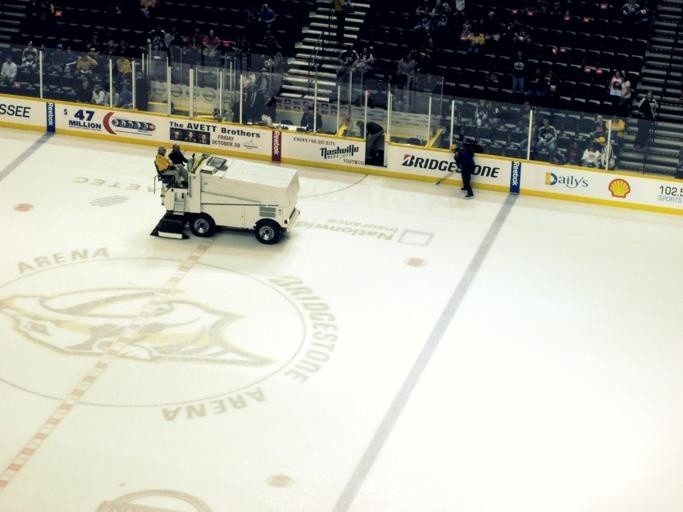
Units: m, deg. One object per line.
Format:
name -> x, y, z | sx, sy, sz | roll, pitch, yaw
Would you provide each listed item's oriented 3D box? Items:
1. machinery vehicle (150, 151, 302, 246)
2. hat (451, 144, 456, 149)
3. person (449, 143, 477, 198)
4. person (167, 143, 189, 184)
machinery vehicle -> -3.573, -1.977, 25.237 | 4.652, 2.349, 2.563 | 7, 24, 6
hat -> 4.146, -4.057, 28.335 | 0.044, 0.170, 0.180 | 19, -2, -25
person -> 4.500, -3.244, 28.075 | 0.875, 2.004, 1.088 | 4, 17, 0
person -> -5.176, -2.904, 24.273 | 0.577, 1.318, 0.677 | -2, 18, -21
